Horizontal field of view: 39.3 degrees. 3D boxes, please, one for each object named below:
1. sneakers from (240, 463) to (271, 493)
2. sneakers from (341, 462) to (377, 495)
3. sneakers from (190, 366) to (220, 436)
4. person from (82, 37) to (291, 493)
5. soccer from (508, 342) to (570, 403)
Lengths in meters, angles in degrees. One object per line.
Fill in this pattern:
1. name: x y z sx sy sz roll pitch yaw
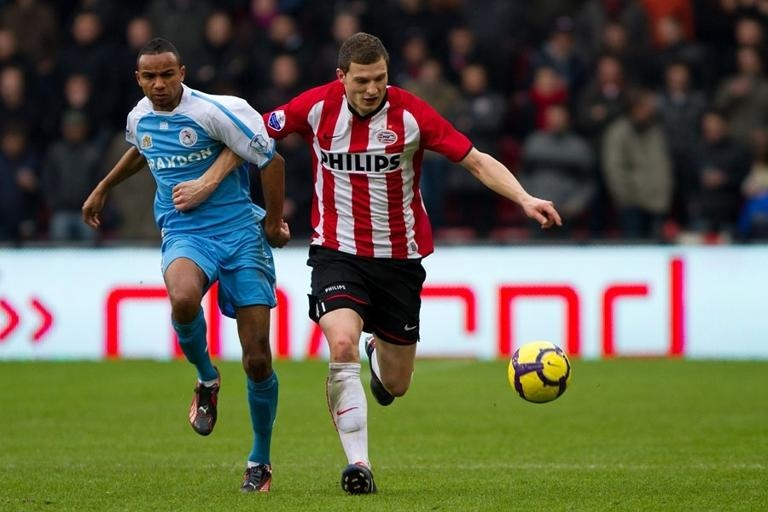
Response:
1. sneakers: -1.006 1.765 8.532 0.238 0.186 0.263 -1 8 -7
2. sneakers: -0.199 1.682 8.172 0.127 0.168 0.365 -4 -33 5
3. sneakers: -1.484 1.209 8.931 0.190 0.548 0.230 1 -8 -14
4. person: -1.410 0.026 8.737 1.188 3.542 0.896 0 8 3
5. soccer: 1.305 0.895 9.006 0.541 0.561 0.554 -5 3 -8
